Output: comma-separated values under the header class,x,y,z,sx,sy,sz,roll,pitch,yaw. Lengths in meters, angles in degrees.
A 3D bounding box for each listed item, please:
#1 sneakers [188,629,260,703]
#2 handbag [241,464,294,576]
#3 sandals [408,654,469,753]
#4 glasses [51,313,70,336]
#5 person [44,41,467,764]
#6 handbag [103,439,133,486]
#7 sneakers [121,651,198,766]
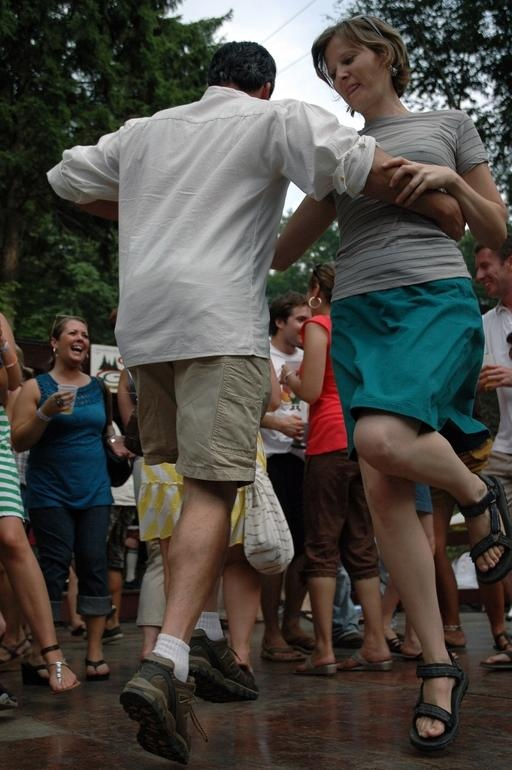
class,x,y,z,sx,sy,sz,roll,pitch,yaw
sneakers,-0.111,0.831,2.270,0.128,0.332,0.161,-19,45,22
handbag,0.025,0.557,3.305,0.118,0.342,0.154,10,-18,-38
sandals,0.465,0.790,1.954,0.093,0.107,0.263,-11,26,28
glasses,-1.129,-0.332,4.395,0.113,0.130,0.086,3,39,2
person,-0.248,-0.021,2.166,0.807,1.742,0.921,-5,5,-40
handbag,-0.743,0.403,4.108,0.171,0.196,0.273,-8,18,-8
sneakers,-0.229,0.770,1.825,0.116,0.305,0.144,4,43,34
